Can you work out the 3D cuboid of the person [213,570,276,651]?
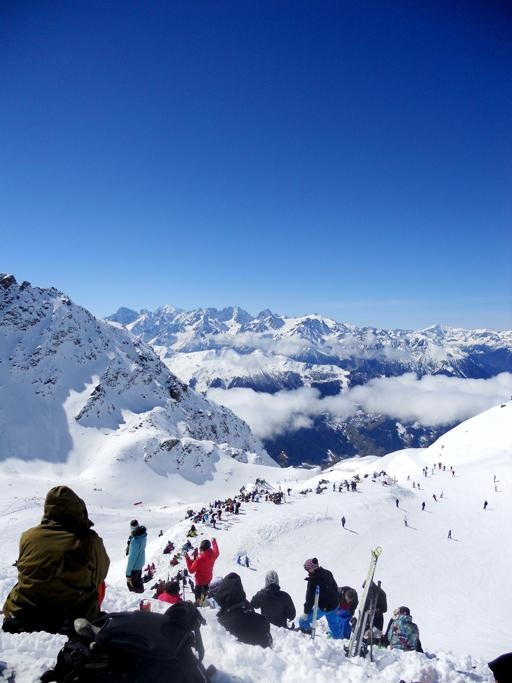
[{"bbox_3d":[-0.425,6.986,15.756,1.437,0.818,2.021,1,24,-26],"label":"person"}]
